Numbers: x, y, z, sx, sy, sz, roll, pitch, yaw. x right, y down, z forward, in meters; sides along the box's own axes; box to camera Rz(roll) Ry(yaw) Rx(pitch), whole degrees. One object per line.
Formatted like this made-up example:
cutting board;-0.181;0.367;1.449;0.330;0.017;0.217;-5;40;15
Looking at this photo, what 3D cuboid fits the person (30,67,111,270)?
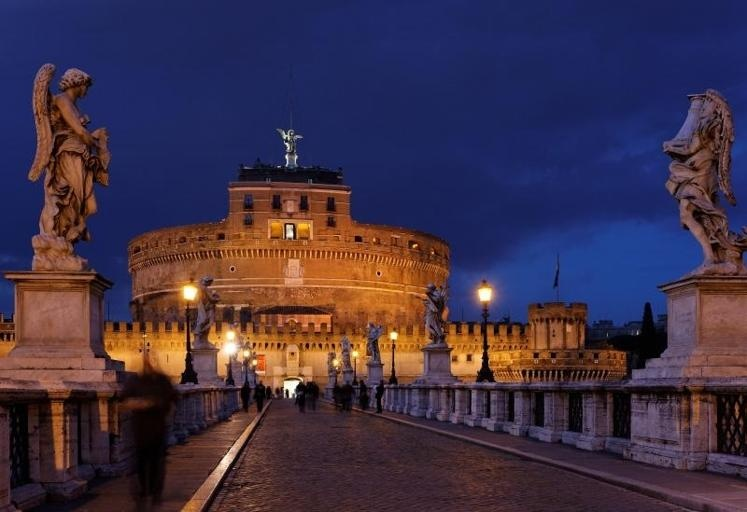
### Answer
person;-6.144;-1.696;24.968;1.538;4.070;1.040;5;-13;-28
